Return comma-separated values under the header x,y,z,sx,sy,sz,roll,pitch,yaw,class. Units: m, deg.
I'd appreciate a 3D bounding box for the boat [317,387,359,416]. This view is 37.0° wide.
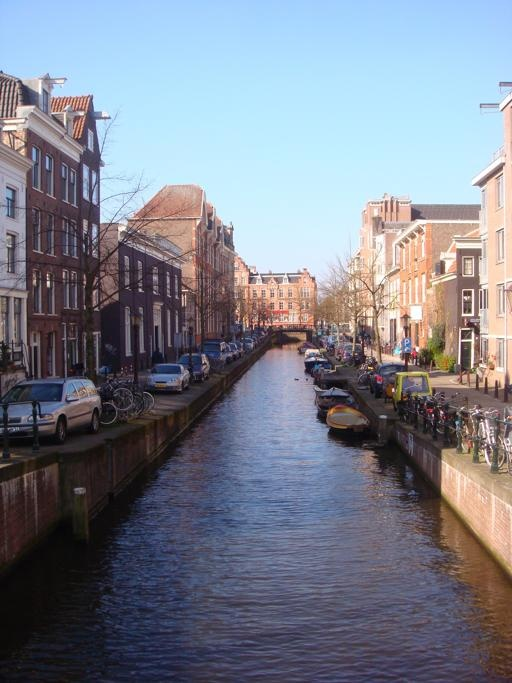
x,y,z,sx,sy,sz,roll,pitch,yaw,class
3.223,2.461,30.648,0.951,0.855,3.225,0,1,3,boat

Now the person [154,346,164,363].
x,y,z,sx,sy,sz,roll,pitch,yaw,class
-6.716,1.104,51.902,0.724,0.887,1.703,-1,1,-8,person

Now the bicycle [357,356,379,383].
x,y,z,sx,sy,sz,roll,pitch,yaw,class
6.323,1.662,43.310,1.056,1.029,1.999,-2,-4,3,bicycle

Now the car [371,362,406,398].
x,y,z,sx,sy,sz,roll,pitch,yaw,class
5.773,1.851,33.758,0.991,1.070,1.841,0,6,5,car

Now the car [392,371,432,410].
x,y,z,sx,sy,sz,roll,pitch,yaw,class
5.423,1.736,26.378,0.924,1.030,1.635,0,4,4,car

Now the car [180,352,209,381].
x,y,z,sx,sy,sz,roll,pitch,yaw,class
-3.442,1.507,42.721,1.405,1.284,3.030,0,-1,2,car

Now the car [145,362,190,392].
x,y,z,sx,sy,sz,roll,pitch,yaw,class
-4.108,1.761,35.897,1.118,0.977,2.818,-1,-2,1,car

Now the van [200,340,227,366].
x,y,z,sx,sy,sz,roll,pitch,yaw,class
-3.095,0.924,54.738,1.661,2.147,4.361,-1,-1,1,van
